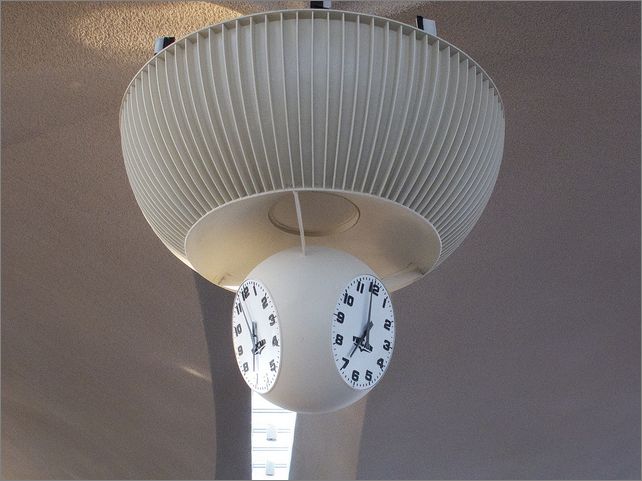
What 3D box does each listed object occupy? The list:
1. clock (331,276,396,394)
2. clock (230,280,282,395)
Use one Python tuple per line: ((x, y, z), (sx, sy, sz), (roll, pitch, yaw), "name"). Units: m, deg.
((0.799, 1.672, 15.270), (1.125, 1.490, 1.600), (-24, -55, 18), "clock")
((-1.155, 1.711, 15.327), (0.222, 2.478, 2.067), (3, -15, -32), "clock")
